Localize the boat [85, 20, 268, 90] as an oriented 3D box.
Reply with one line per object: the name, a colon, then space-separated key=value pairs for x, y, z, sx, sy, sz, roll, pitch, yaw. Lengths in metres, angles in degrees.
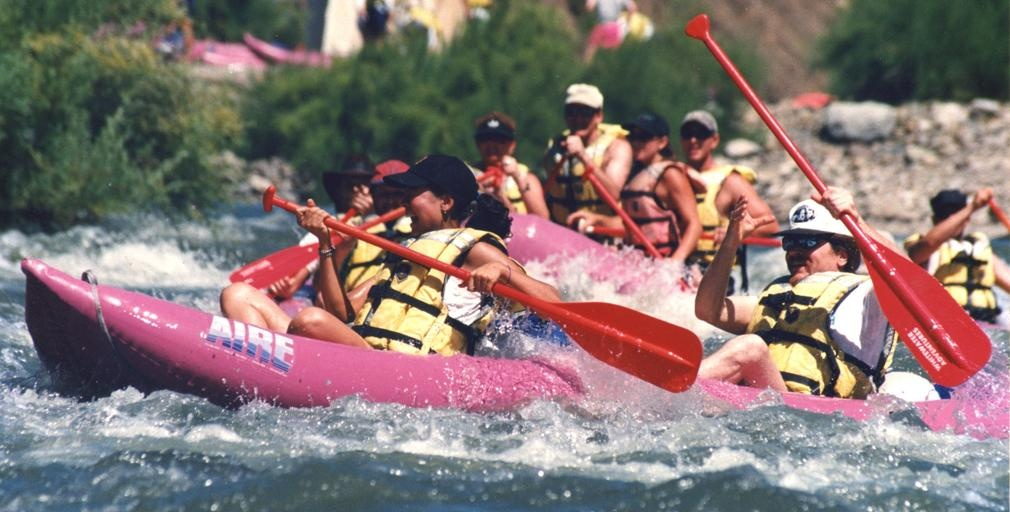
boat: x=-5.521 y=-3.461 z=23.172 sx=3.785 sy=0.986 sz=1.024 roll=9 pitch=71 yaw=39
